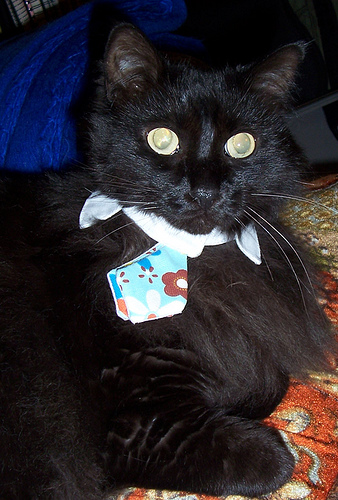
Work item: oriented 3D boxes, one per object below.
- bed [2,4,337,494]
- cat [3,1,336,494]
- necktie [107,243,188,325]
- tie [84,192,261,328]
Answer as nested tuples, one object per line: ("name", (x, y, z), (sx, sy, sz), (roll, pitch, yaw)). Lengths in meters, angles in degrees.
("bed", (-0.037, -0.175, 1.285), (1.182, 1.100, 0.307), (-1, -1, 6))
("cat", (-0.047, 0.019, 1.148), (0.804, 0.866, 0.409), (14, -9, -10))
("necktie", (-0.038, 0.070, 0.867), (0.160, 0.135, 0.120), (-4, 25, -8))
("tie", (-0.023, 0.041, 0.859), (0.299, 0.283, 0.075), (1, -19, -13))
